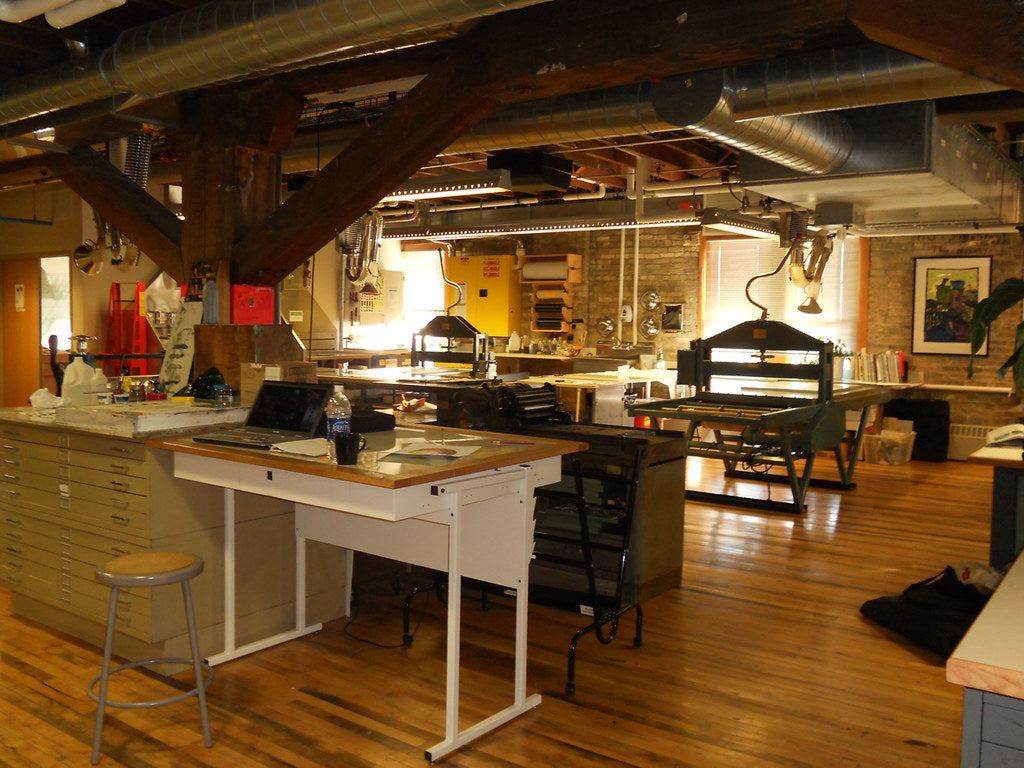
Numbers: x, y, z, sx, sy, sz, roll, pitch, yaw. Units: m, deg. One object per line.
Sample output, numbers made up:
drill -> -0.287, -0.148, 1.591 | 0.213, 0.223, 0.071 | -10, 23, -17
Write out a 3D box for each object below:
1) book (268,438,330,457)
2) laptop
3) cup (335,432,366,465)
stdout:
book -> -1.059, 0.312, 4.024 | 0.265, 0.031, 0.379 | -1, 7, -18
laptop -> -1.319, 0.154, 4.295 | 0.575, 0.279, 0.550 | 4, 8, 24
cup -> -0.762, 0.289, 3.734 | 0.113, 0.139, 0.153 | -1, 8, -15
